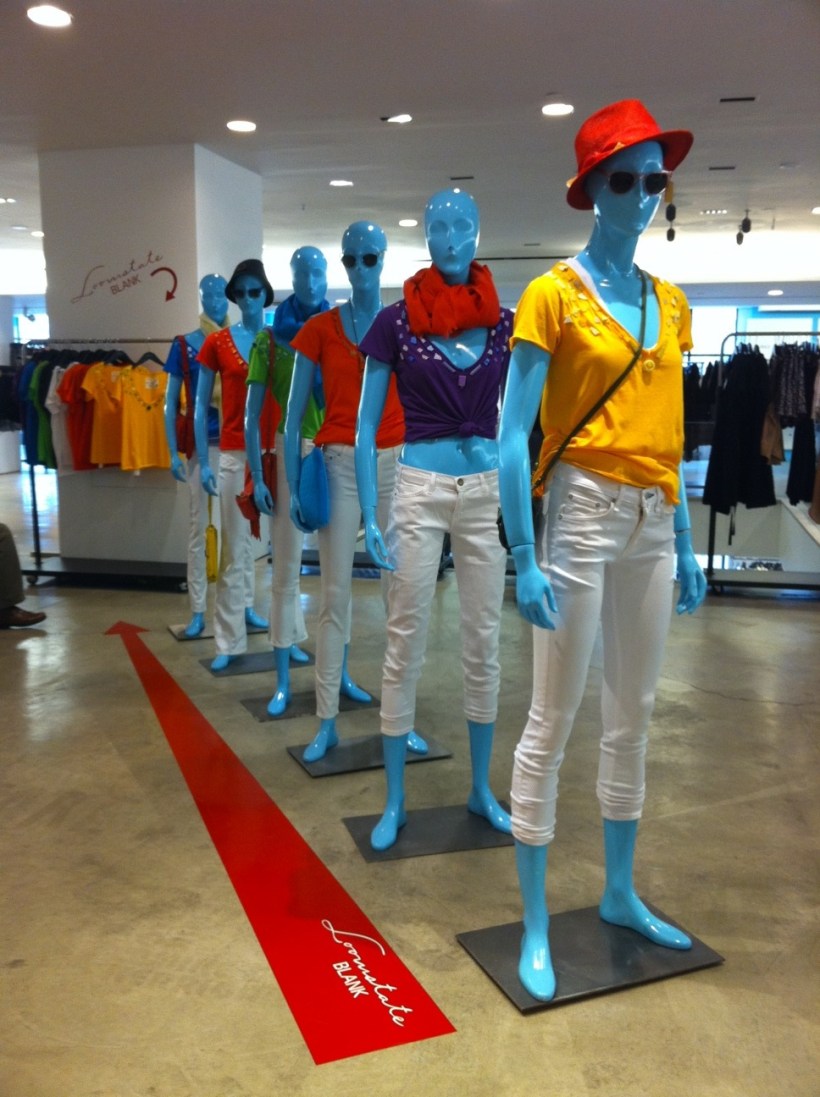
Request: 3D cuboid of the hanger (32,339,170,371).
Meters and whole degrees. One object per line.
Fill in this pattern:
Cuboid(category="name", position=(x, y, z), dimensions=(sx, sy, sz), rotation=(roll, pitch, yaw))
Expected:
Cuboid(category="hanger", position=(-2.232, -1.402, 5.690), dimensions=(0.719, 0.295, 0.193), rotation=(2, 7, 5))

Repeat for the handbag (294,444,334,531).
Cuboid(category="handbag", position=(-0.298, -0.163, 2.518), dimensions=(0.055, 0.226, 0.157), rotation=(0, 29, -16))

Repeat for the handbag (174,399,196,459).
Cuboid(category="handbag", position=(-1.224, -0.630, 4.386), dimensions=(0.076, 0.475, 0.228), rotation=(-6, 20, -17))

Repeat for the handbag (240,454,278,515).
Cuboid(category="handbag", position=(-0.599, -0.248, 3.147), dimensions=(0.076, 0.243, 0.172), rotation=(4, 9, 20))

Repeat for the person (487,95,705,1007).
Cuboid(category="person", position=(0.356, 0.046, 1.443), dimensions=(0.309, 1.534, 0.464), rotation=(2, 6, 23))
